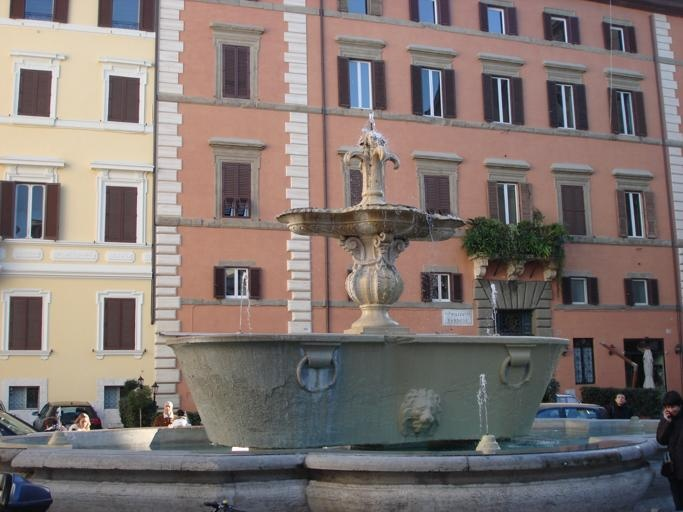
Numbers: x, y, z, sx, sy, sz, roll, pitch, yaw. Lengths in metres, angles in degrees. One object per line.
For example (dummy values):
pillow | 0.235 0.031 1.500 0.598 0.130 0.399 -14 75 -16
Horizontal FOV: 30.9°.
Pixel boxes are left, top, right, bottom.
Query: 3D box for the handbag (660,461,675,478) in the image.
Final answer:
handbag | 6.017 3.934 22.872 0.205 0.266 0.269 8 17 19

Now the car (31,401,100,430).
car | -7.864 4.476 34.866 0.985 0.765 1.588 2 -4 -21

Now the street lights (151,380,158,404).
street lights | -5.652 4.086 37.285 0.221 0.450 0.476 3 1 -9
